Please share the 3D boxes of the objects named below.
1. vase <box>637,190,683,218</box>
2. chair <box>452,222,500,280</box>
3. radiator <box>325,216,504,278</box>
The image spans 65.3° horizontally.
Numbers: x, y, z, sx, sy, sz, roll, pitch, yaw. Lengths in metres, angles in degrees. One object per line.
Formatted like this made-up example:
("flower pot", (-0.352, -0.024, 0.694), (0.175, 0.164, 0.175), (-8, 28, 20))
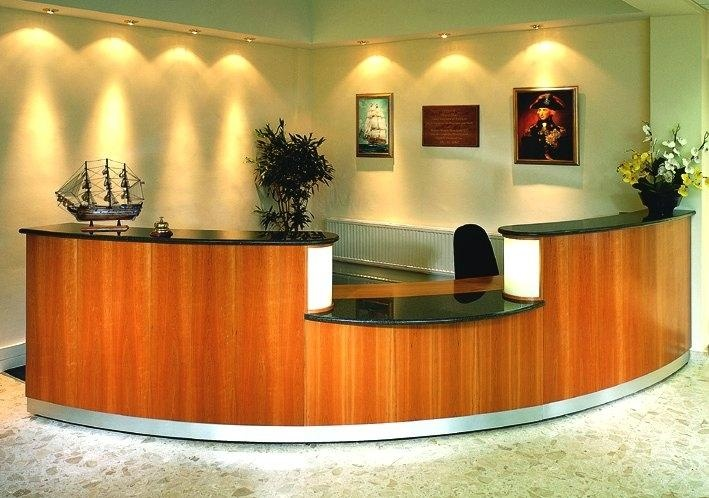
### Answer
("vase", (3.106, -0.455, 5.628), (0.392, 0.237, 0.385), (1, 3, 35))
("chair", (1.240, 0.024, 5.684), (0.437, 0.532, 0.316), (-2, 6, -10))
("radiator", (0.624, -0.050, 8.822), (3.558, 0.758, 0.349), (8, 6, 41))
